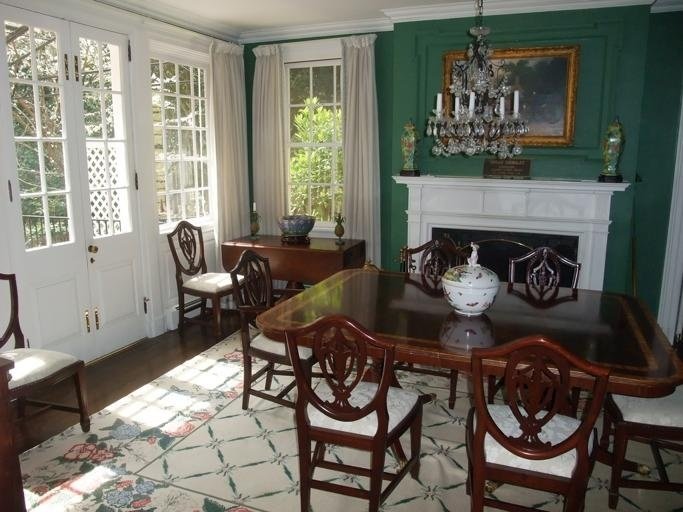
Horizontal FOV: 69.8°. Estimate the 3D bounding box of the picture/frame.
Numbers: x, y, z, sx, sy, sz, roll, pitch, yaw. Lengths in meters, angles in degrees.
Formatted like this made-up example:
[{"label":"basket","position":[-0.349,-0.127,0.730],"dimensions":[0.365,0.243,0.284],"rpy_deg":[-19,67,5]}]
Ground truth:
[{"label":"picture/frame","position":[1.645,-1.577,4.871],"dimensions":[1.302,0.966,0.051],"rpy_deg":[12,34,33]}]
